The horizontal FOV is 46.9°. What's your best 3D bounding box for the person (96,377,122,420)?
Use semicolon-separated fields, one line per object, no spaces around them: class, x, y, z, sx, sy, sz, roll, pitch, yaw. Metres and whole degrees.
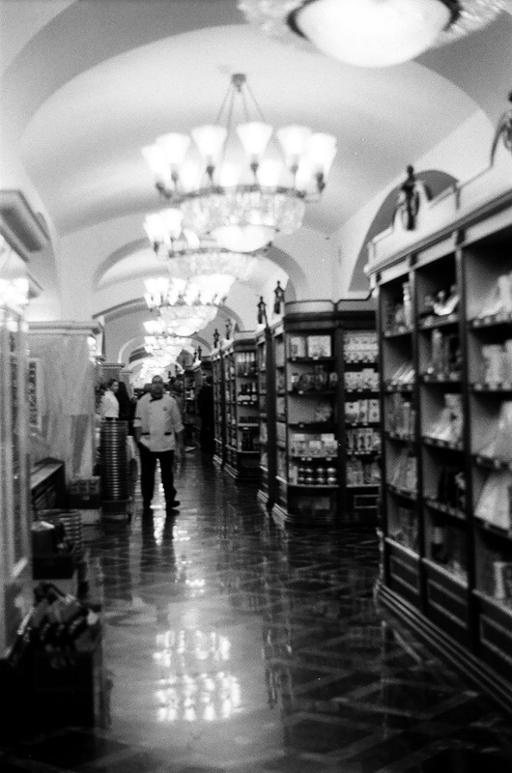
person;-2.688;0.249;10.721;0.368;0.842;1.984;2;-7;-15

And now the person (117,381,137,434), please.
person;-3.276;0.499;15.380;0.424;0.531;1.709;-13;-46;-24

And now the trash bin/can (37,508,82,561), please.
trash bin/can;-1.360;1.058;4.097;0.314;0.210;0.329;4;22;0
